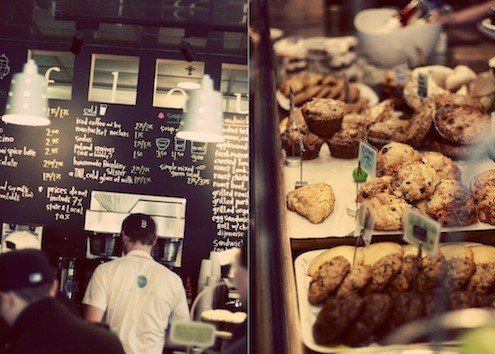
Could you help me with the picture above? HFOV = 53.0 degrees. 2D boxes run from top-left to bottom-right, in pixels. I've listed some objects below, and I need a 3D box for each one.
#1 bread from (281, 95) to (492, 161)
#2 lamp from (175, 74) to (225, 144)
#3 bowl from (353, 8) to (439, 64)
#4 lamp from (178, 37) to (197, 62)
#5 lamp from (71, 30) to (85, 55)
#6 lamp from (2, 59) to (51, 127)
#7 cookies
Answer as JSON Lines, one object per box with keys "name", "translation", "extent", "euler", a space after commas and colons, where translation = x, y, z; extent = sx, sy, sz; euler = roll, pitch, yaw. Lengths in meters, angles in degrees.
{"name": "bread", "translation": [0.846, -0.277, 2.929], "extent": [0.818, 0.273, 0.507], "euler": [1, 14, 5]}
{"name": "lamp", "translation": [-0.317, -0.477, 3.756], "extent": [0.442, 0.591, 0.426], "euler": [6, 0, 0]}
{"name": "bowl", "translation": [0.876, -0.860, 3.061], "extent": [0.398, 0.258, 0.381], "euler": [7, 38, -5]}
{"name": "lamp", "translation": [-0.466, -0.963, 3.788], "extent": [0.091, 0.163, 0.095], "euler": [-12, 57, 17]}
{"name": "lamp", "translation": [-1.301, -1.024, 3.815], "extent": [0.090, 0.192, 0.038], "euler": [14, -1, -37]}
{"name": "lamp", "translation": [-1.691, -0.604, 3.738], "extent": [0.376, 0.471, 0.218], "euler": [-18, 25, -22]}
{"name": "cookies", "translation": [0.441, -0.549, 3.054], "extent": [0.312, 0.103, 0.244], "euler": [15, 25, 28]}
